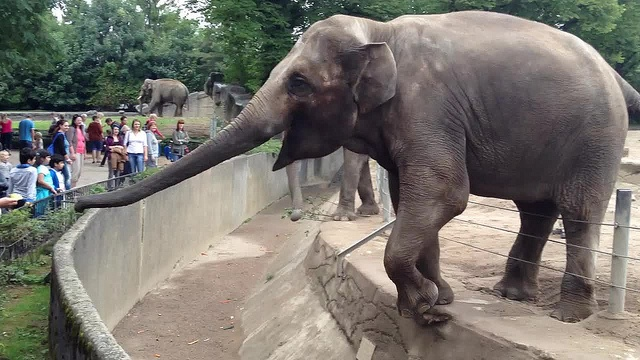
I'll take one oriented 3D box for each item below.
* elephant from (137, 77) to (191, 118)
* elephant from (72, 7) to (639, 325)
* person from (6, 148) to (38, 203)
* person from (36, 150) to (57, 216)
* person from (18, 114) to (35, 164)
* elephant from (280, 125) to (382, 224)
[{"bbox_3d":[-10.042,-5.147,35.697,3.611,2.337,1.325,4,8,12],"label":"elephant"},{"bbox_3d":[0.151,-0.565,8.688,9.331,3.925,2.801,0,-1,-3],"label":"elephant"},{"bbox_3d":[-6.466,-0.102,12.112,0.550,1.108,0.408,-4,11,-26],"label":"person"},{"bbox_3d":[-6.106,0.025,12.404,0.421,1.312,1.372,-4,10,-25],"label":"person"},{"bbox_3d":[-11.177,-1.604,21.390,0.708,1.653,0.554,8,7,22],"label":"person"},{"bbox_3d":[0.422,-0.265,12.362,1.627,2.165,3.424,6,3,34],"label":"elephant"}]
